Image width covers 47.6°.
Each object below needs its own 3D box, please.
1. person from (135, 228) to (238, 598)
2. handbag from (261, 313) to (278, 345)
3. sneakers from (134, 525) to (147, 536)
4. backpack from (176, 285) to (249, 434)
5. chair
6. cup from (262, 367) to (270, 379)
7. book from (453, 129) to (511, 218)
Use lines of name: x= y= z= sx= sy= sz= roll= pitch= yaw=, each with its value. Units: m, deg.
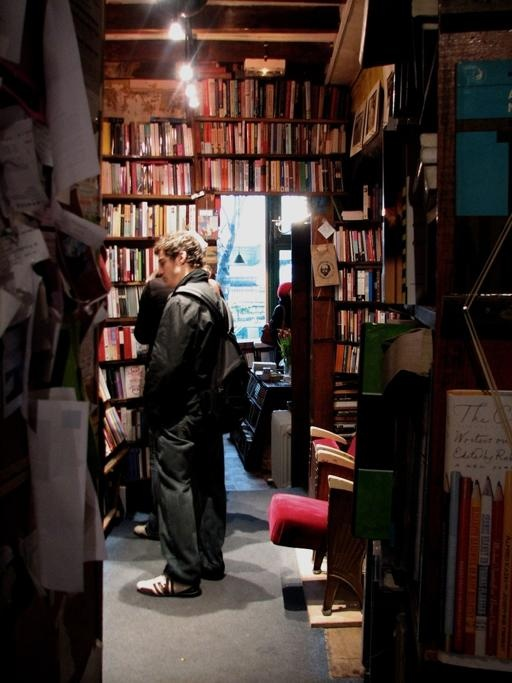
person: x=-0.297 y=0.402 z=2.628 sx=0.453 sy=1.471 sz=0.285 roll=-1 pitch=2 yaw=-41
handbag: x=0.130 y=-0.131 z=6.224 sx=0.117 sy=0.353 sz=0.303 roll=6 pitch=-6 yaw=-8
sneakers: x=-0.665 y=1.075 z=3.308 sx=0.051 sy=0.072 sz=0.119 roll=4 pitch=0 yaw=-18
backpack: x=-0.254 y=0.078 z=2.977 sx=0.423 sy=1.026 sz=0.628 roll=-1 pitch=4 yaw=-10
chair: x=0.239 y=0.797 z=2.403 sx=0.377 sy=0.664 sz=0.610 roll=0 pitch=2 yaw=2
cup: x=0.080 y=0.271 z=4.998 sx=0.061 sy=0.080 sz=0.135 roll=5 pitch=25 yaw=-3
book: x=0.349 y=-0.262 z=0.903 sx=0.079 sy=0.127 sz=0.016 roll=0 pitch=2 yaw=-3
